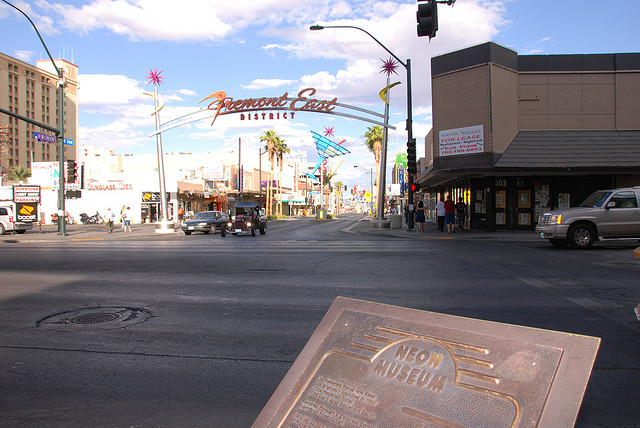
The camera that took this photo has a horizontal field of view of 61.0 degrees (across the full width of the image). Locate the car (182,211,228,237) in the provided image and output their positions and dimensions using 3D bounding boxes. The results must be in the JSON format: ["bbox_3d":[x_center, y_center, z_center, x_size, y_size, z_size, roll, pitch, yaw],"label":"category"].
[{"bbox_3d":[-6.677,0.549,32.604,1.417,0.893,3.126,-1,-2,14],"label":"car"}]

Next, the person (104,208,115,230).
[{"bbox_3d":[-13.288,0.284,34.128,0.415,1.306,1.425,-3,2,-19],"label":"person"}]

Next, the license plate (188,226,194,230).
[{"bbox_3d":[-7.466,0.798,31.298,0.297,0.148,0.188,-2,-4,-19],"label":"license plate"}]

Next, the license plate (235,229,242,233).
[{"bbox_3d":[-4.259,0.861,28.107,0.302,0.188,0.150,0,-6,-3],"label":"license plate"}]

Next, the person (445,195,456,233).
[{"bbox_3d":[6.510,0.079,27.301,0.449,1.688,0.955,-2,2,11],"label":"person"}]

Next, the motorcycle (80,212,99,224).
[{"bbox_3d":[-21.931,0.418,51.604,1.399,0.802,0.825,1,-15,-9],"label":"motorcycle"}]

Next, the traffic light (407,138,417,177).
[{"bbox_3d":[4.561,-2.815,27.129,0.393,1.880,1.066,-2,2,9],"label":"traffic light"}]

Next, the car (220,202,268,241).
[{"bbox_3d":[-4.091,0.335,29.444,1.458,1.388,2.767,-1,-5,8],"label":"car"}]

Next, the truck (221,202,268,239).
[{"bbox_3d":[-3.999,0.282,29.397,1.357,1.221,2.618,-1,-5,8],"label":"truck"}]

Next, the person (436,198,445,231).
[{"bbox_3d":[6.363,0.132,28.628,0.358,1.536,1.095,-2,2,11],"label":"person"}]

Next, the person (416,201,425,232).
[{"bbox_3d":[5.511,0.071,30.037,0.423,1.544,1.760,-2,2,9],"label":"person"}]
